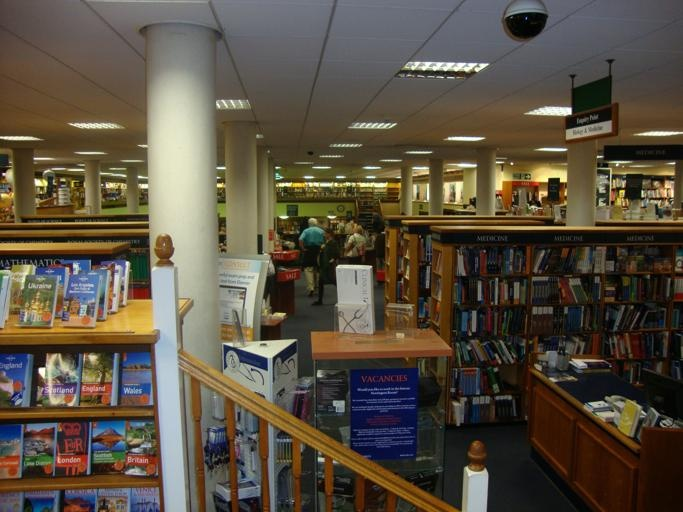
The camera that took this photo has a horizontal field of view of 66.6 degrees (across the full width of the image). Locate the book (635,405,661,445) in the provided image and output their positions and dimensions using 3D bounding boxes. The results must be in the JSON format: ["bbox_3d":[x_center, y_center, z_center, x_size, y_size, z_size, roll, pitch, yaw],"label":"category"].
[{"bbox_3d":[2.657,1.464,4.530,0.066,0.286,0.283,13,1,0],"label":"book"}]

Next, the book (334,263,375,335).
[{"bbox_3d":[0.121,0.396,4.666,0.342,0.632,0.272,-2,2,3],"label":"book"}]

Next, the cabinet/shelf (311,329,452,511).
[{"bbox_3d":[0.561,1.226,5.150,1.412,1.368,1.115,4,28,19],"label":"cabinet/shelf"}]
